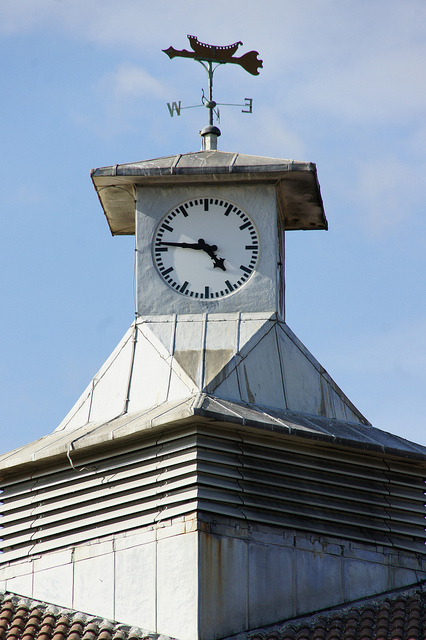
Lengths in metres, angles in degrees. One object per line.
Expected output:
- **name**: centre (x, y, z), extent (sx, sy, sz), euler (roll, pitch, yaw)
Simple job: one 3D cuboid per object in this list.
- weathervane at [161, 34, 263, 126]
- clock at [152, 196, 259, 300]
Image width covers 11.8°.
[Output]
- **weathervane**: centre (-0.114, -4.596, 42.282), extent (2.017, 2.191, 0.342), euler (0, -2, -11)
- **clock**: centre (-0.252, -1.327, 40.317), extent (2.103, 2.236, 0.126), euler (-1, -22, 2)
